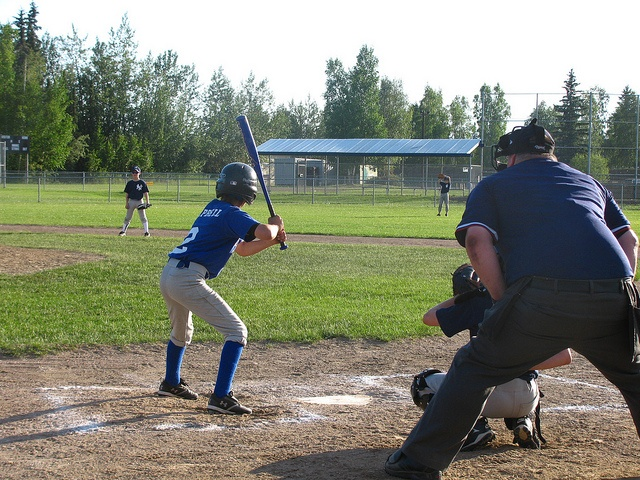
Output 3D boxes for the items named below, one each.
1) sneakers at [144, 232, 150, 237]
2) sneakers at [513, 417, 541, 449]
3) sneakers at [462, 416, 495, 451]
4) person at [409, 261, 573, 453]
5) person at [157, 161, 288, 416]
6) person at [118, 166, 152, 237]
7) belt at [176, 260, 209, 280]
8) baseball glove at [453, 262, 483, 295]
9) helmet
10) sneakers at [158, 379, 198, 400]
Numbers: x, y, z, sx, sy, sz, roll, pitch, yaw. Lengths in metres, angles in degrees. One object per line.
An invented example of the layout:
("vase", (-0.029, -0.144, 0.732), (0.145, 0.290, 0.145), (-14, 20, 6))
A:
("sneakers", (-3.524, -0.114, 19.053), (0.098, 0.124, 0.128), (-3, 1, 0))
("sneakers", (1.734, 1.586, 7.787), (0.140, 0.189, 0.368), (-10, -45, 24))
("sneakers", (1.306, 1.594, 7.852), (0.319, 0.225, 0.116), (-32, -31, 33))
("person", (1.434, 1.000, 7.586), (1.614, 1.713, 0.959), (2, 1, -20))
("person", (-0.928, 0.397, 8.418), (1.100, 2.189, 0.542), (4, 5, 11))
("person", (-3.923, -0.860, 20.048), (0.608, 1.388, 2.967), (2, 5, -11))
("belt", (-1.094, 0.250, 8.296), (0.177, 0.052, 0.179), (18, -3, 37))
("baseball glove", (1.193, 0.325, 7.756), (0.236, 0.259, 0.215), (-5, -32, 47))
("helmet", (1.748, -0.774, 7.580), (0.413, 0.391, 0.551), (3, -4, 2))
("sneakers", (-1.291, 1.359, 8.616), (0.418, 0.170, 0.147), (7, -6, -7))
